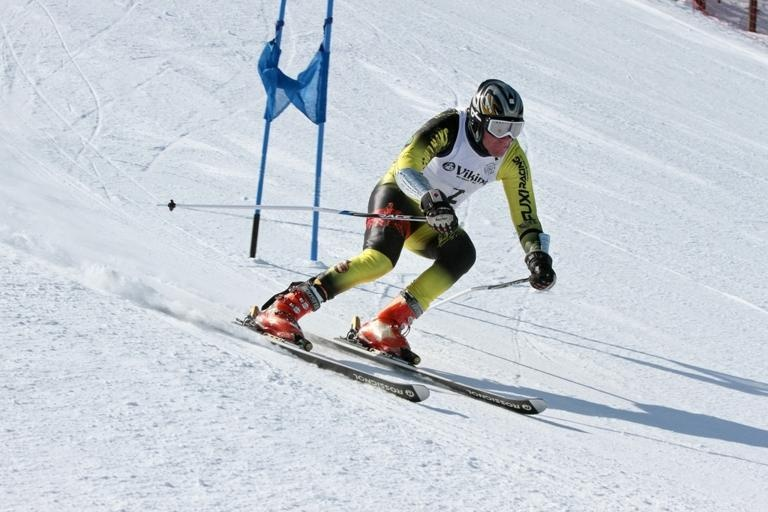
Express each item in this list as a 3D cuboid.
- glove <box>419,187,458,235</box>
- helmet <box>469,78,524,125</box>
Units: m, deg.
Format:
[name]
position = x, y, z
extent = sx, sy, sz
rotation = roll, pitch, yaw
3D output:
[glove]
position = 0.461, -0.385, 8.616
extent = 0.324, 0.175, 0.395
rotation = -15, 62, -34
[helmet]
position = 1.095, -1.383, 9.100
extent = 0.575, 0.372, 0.535
rotation = -2, 17, 1
